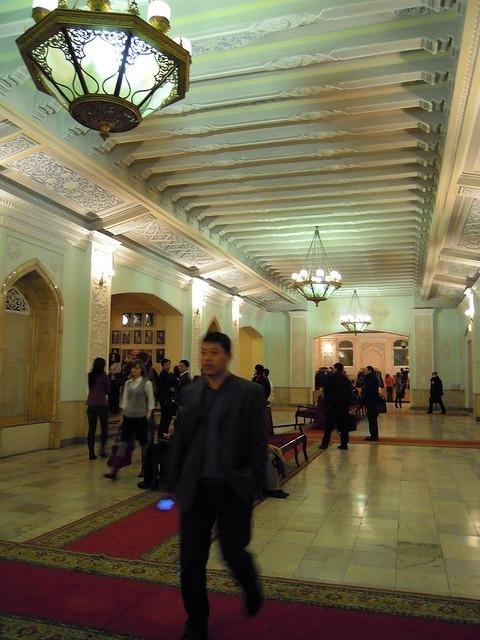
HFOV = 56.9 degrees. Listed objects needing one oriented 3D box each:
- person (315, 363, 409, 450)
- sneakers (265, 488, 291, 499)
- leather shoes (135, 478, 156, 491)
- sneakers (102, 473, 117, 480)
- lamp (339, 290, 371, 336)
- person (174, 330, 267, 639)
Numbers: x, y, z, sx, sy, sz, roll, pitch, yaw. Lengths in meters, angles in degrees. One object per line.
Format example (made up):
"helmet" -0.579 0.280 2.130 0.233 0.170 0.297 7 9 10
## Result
"person" 2.210 1.662 8.570 0.878 1.634 1.614 0 -5 32
"sneakers" 0.411 1.869 4.822 0.289 0.173 0.099 -2 -9 10
"leather shoes" -1.039 1.832 4.936 0.278 0.107 0.117 -1 -5 38
"sneakers" -1.557 1.885 5.368 0.106 0.048 0.132 -2 -17 15
"lamp" 4.993 -0.339 18.935 1.200 1.783 1.505 1 -4 15
"person" -0.087 0.655 1.718 0.377 1.222 0.247 2 -4 2
